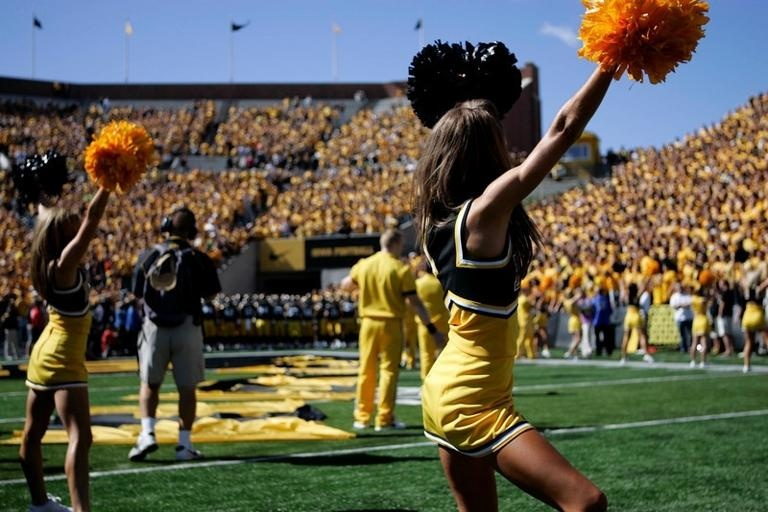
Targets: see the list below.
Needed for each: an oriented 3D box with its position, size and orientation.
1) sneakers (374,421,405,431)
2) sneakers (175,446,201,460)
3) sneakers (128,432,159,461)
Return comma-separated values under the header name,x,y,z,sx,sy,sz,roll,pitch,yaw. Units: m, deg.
name,x,y,z,sx,sy,sz,roll,pitch,yaw
sneakers,0.100,2.233,12.101,0.385,0.177,0.147,-3,3,-14
sneakers,-2.286,2.294,10.651,0.291,0.134,0.134,4,14,-32
sneakers,-2.813,2.243,10.669,0.182,0.244,0.518,17,-48,-35
